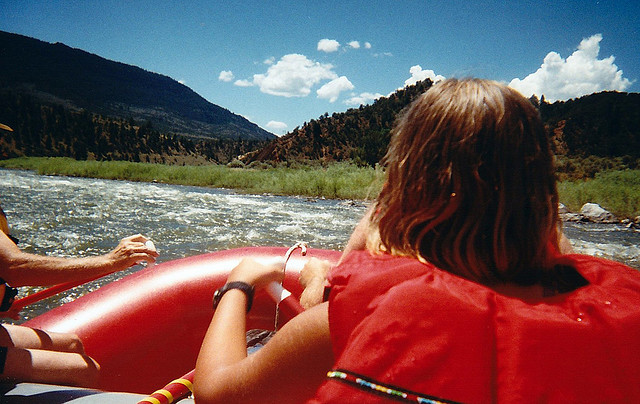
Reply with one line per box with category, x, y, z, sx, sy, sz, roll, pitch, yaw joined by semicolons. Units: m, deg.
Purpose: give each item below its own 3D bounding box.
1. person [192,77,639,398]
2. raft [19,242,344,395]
person;0.421;0.064;1.870;1.139;0.683;1.481;-3;13;-2
raft;-0.890;0.675;2.759;1.007;0.340;1.796;22;24;36
